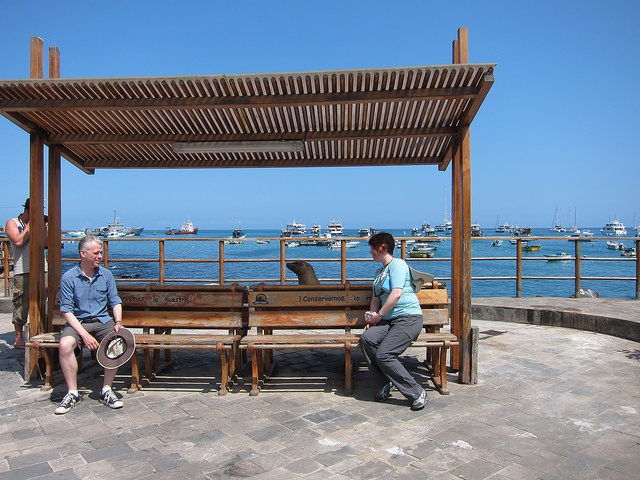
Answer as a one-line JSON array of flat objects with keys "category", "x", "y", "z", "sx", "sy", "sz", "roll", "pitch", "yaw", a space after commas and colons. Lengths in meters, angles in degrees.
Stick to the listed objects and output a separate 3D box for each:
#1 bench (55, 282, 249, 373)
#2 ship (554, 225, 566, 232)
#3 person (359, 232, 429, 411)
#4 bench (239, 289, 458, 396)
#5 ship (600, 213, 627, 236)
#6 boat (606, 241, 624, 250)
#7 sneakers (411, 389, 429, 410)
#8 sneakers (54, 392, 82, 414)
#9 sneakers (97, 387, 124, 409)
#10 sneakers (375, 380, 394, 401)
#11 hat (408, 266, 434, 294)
[{"category": "bench", "x": -1.852, "y": 1.256, "z": 8.177, "sx": 1.710, "sy": 1.101, "sz": 0.912, "roll": -2, "pitch": 23, "yaw": 2}, {"category": "ship", "x": 55.085, "y": -2.370, "z": 142.498, "sx": 1.990, "sy": 1.636, "sz": 6.932, "roll": 4, "pitch": 8, "yaw": 16}, {"category": "person", "x": 0.907, "y": 0.917, "z": 7.509, "sx": 0.852, "sy": 2.014, "sz": 0.872, "roll": 2, "pitch": 8, "yaw": 15}, {"category": "bench", "x": 0.303, "y": 1.250, "z": 7.892, "sx": 2.652, "sy": 1.201, "sz": 1.188, "roll": -1, "pitch": 8, "yaw": 3}, {"category": "ship", "x": 55.523, "y": -1.902, "z": 117.280, "sx": 3.353, "sy": 3.804, "sz": 9.628, "roll": 3, "pitch": 5, "yaw": 22}, {"category": "boat", "x": 34.110, "y": 0.545, "z": 71.645, "sx": 1.038, "sy": 0.627, "sz": 2.681, "roll": 3, "pitch": 8, "yaw": -4}, {"category": "sneakers", "x": 1.158, "y": 1.877, "z": 7.241, "sx": 0.101, "sy": 0.142, "sz": 0.303, "roll": -23, "pitch": -9, "yaw": 23}, {"category": "sneakers", "x": -2.963, "y": 1.890, "z": 7.251, "sx": 0.135, "sy": 0.179, "sz": 0.358, "roll": 3, "pitch": 9, "yaw": 21}, {"category": "sneakers", "x": -2.514, "y": 1.864, "z": 7.368, "sx": 0.414, "sy": 0.205, "sz": 0.161, "roll": 4, "pitch": 9, "yaw": 27}, {"category": "sneakers", "x": 0.778, "y": 1.828, "z": 7.547, "sx": 0.108, "sy": 0.084, "sz": 0.305, "roll": -32, "pitch": 1, "yaw": 23}, {"category": "hat", "x": 1.285, "y": 0.478, "z": 7.858, "sx": 0.312, "sy": 0.396, "sz": 0.340, "roll": -3, "pitch": 1, "yaw": 1}]
